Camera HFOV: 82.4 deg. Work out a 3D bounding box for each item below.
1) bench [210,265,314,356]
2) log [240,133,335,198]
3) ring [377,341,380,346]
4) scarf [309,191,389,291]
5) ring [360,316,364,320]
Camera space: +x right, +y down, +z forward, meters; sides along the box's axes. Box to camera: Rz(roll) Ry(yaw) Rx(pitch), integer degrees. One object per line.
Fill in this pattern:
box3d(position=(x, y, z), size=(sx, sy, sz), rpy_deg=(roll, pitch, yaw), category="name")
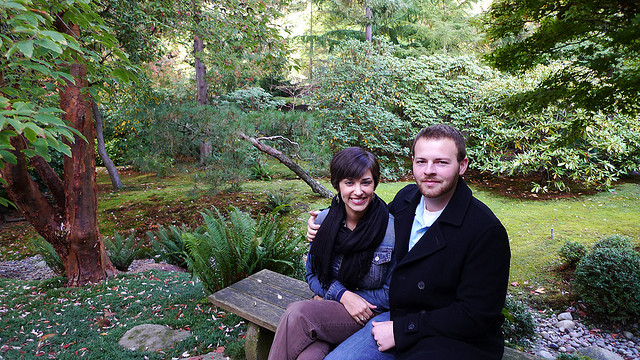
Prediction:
box3d(position=(-0.840, 1.827, 5.599), size=(1.290, 0.791, 1.338), rpy_deg=(14, 15, 43), category="bench")
box3d(position=(-1.000, -0.423, 11.024), size=(3.322, 0.425, 0.635), rpy_deg=(36, -32, -19), category="log")
box3d(position=(0.785, 2.200, 4.920), size=(0.033, 0.055, 0.010), rpy_deg=(10, 15, 40), category="ring")
box3d(position=(0.429, 0.864, 5.391), size=(1.007, 1.262, 0.710), rpy_deg=(14, 12, 6), category="scarf")
box3d(position=(0.586, 1.910, 5.082), size=(0.044, 0.045, 0.007), rpy_deg=(-2, 12, -11), category="ring")
